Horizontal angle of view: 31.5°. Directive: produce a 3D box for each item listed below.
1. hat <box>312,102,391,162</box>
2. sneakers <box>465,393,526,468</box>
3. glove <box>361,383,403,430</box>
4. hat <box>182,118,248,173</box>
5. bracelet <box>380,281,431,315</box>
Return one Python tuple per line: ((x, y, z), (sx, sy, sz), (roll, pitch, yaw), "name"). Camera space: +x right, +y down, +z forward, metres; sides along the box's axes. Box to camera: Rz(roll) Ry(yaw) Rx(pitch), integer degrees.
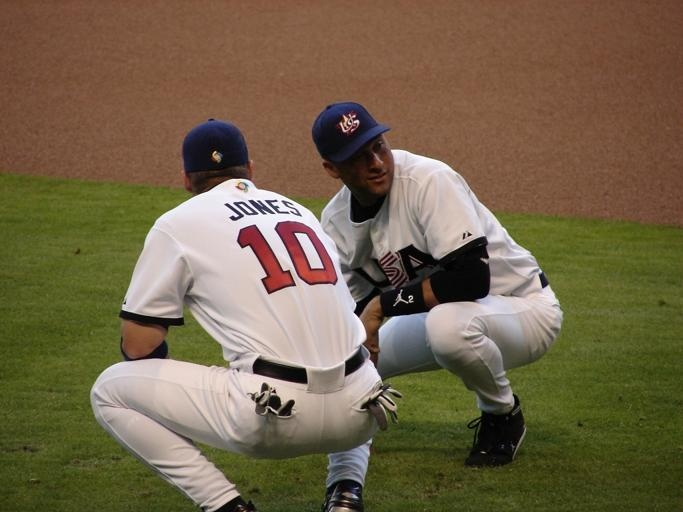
((0.028, -0.820, 7.761), (0.449, 0.313, 0.592), (-28, 14, -8), "hat")
((1.022, 1.131, 7.816), (0.239, 0.240, 0.564), (-15, 16, 40), "sneakers")
((0.269, 0.888, 7.351), (0.319, 0.243, 0.153), (-9, 7, -35), "glove")
((-0.795, -0.693, 7.551), (0.423, 0.341, 0.562), (-4, 25, -9), "hat")
((0.403, 0.288, 7.739), (0.261, 0.136, 0.203), (-16, 13, 25), "bracelet")
